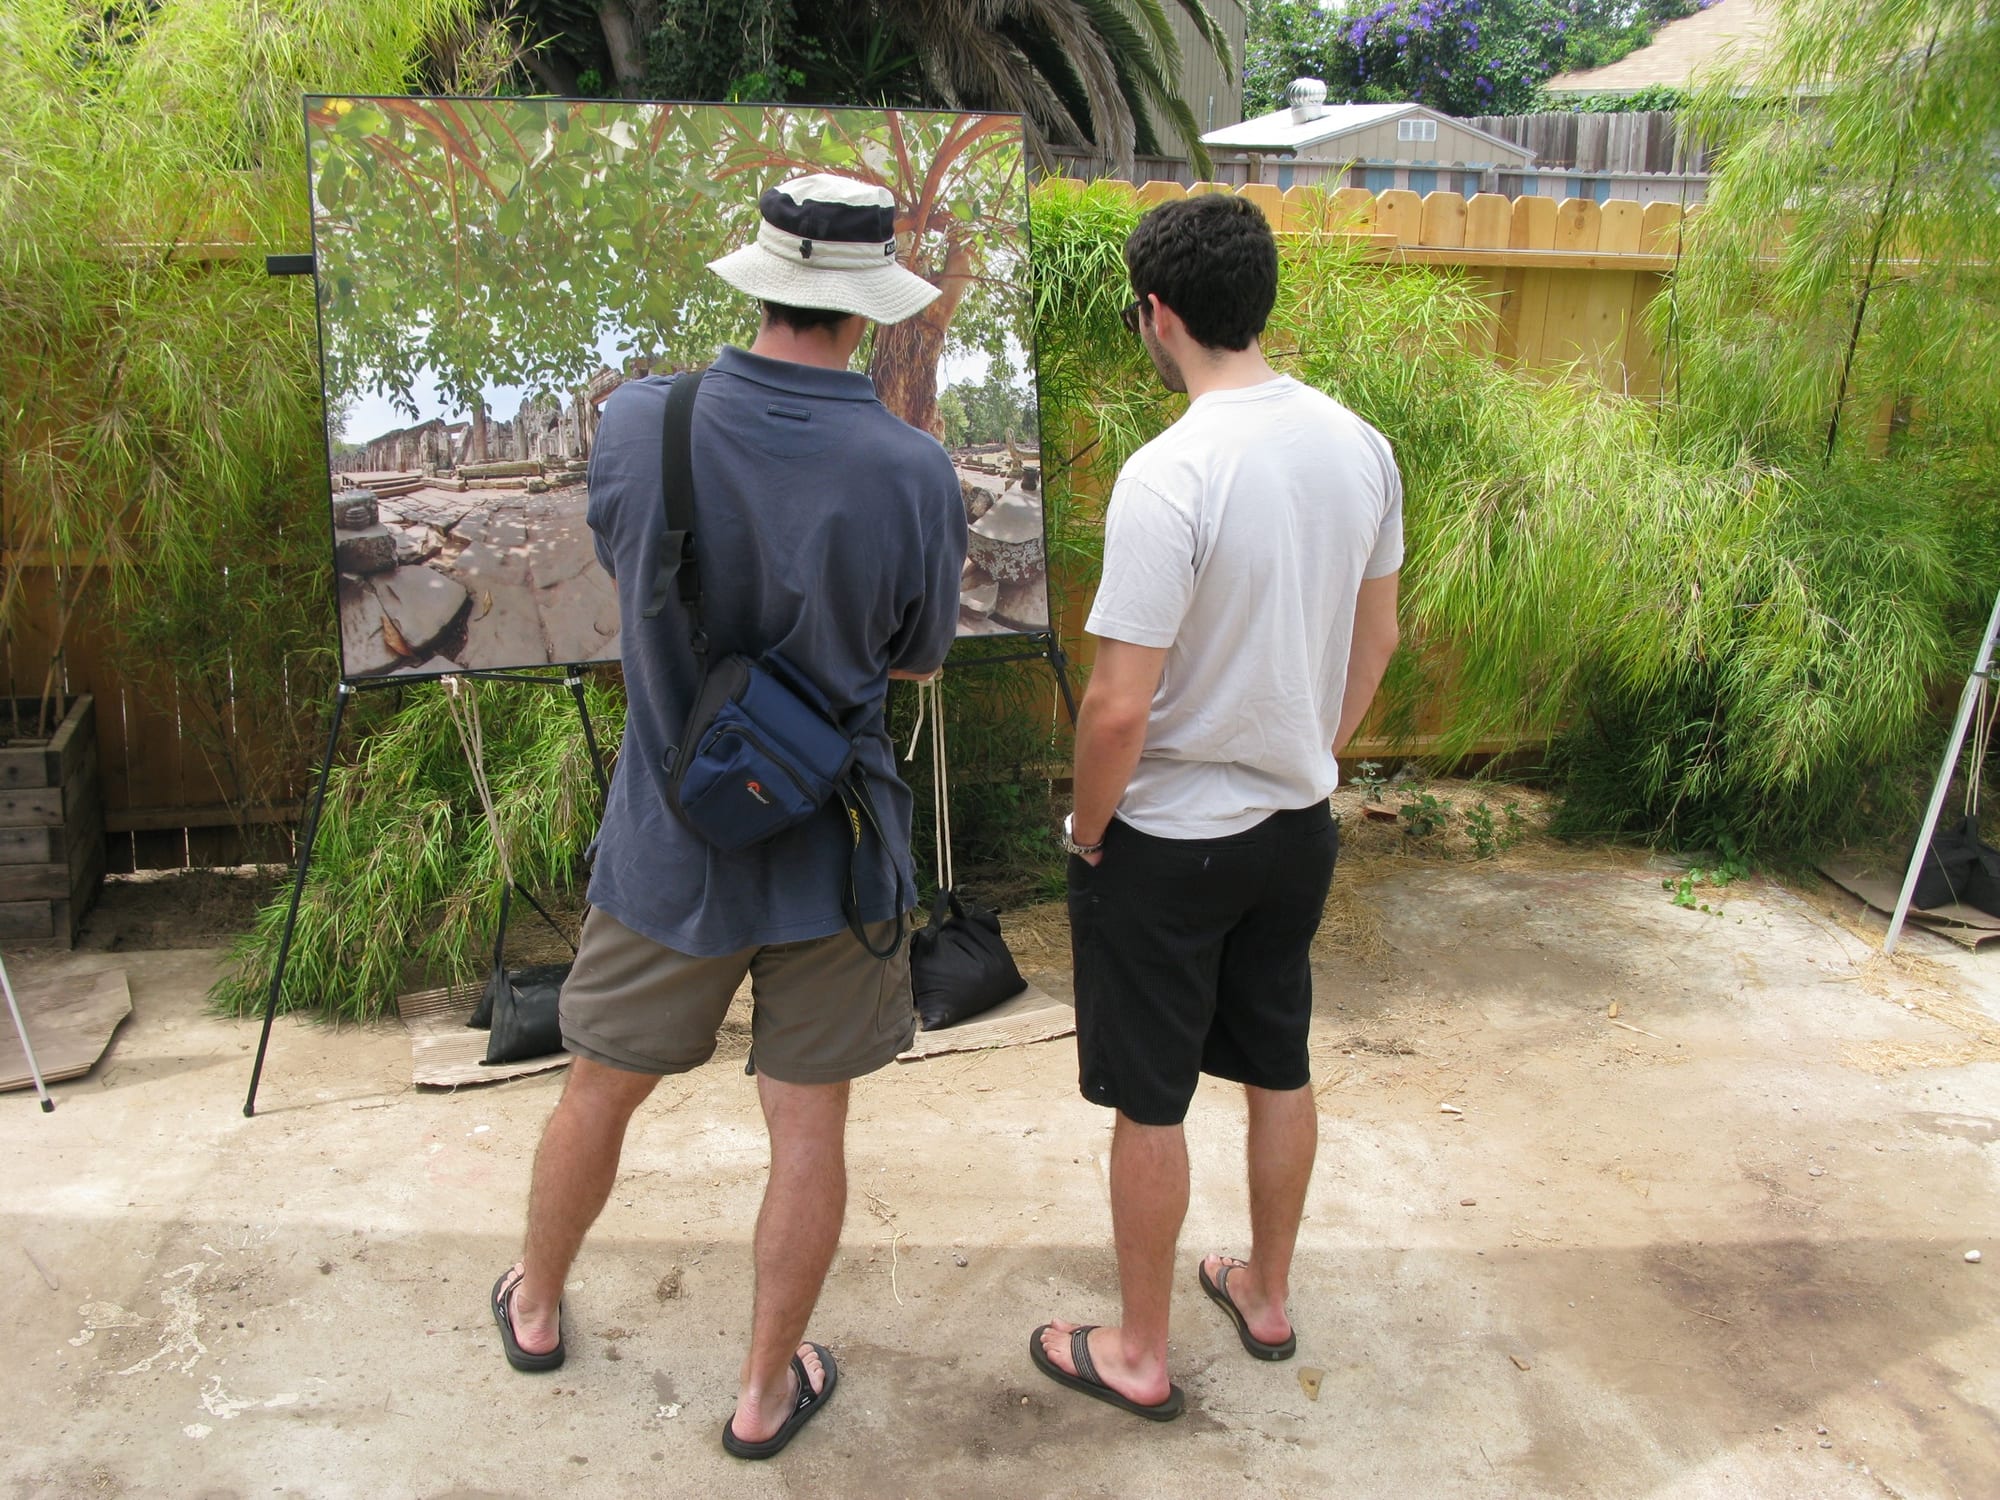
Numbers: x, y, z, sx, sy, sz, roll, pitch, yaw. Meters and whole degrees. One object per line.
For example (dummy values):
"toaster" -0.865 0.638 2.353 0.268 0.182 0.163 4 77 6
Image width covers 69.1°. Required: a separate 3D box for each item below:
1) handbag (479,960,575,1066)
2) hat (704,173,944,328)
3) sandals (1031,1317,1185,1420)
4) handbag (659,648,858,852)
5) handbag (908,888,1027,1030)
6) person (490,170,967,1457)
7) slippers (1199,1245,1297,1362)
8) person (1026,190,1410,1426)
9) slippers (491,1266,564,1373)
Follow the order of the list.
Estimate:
"handbag" -1.210 0.689 3.856 0.168 0.239 0.309 -9 -7 41
"hat" -0.297 -0.840 2.422 0.270 0.165 0.285 1 31 -1
"sandals" 0.198 1.147 2.743 0.262 0.088 0.126 24 27 29
"handbag" -0.350 -0.083 2.352 0.278 0.431 0.160 5 23 -31
"handbag" -0.116 0.592 4.159 0.412 0.380 0.221 -10 -3 -44
"person" -0.457 0.134 2.511 0.819 2.146 0.548 -6 18 -22
"slippers" 0.504 1.093 2.951 0.140 0.122 0.382 -2 10 -5
"person" 0.392 0.120 2.647 0.479 2.128 0.615 9 18 23
"slippers" -0.902 1.082 2.779 0.108 0.310 0.082 5 37 10
